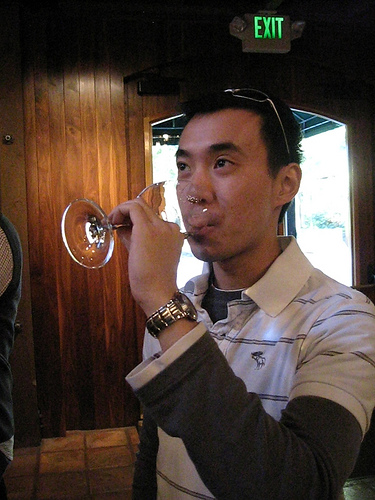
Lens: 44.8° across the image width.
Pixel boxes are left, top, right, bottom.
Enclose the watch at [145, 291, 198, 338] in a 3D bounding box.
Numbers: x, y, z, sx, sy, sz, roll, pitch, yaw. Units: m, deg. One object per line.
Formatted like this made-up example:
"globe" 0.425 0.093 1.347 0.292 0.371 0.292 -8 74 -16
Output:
"watch" -0.031 0.113 0.809 0.066 0.084 0.085 62 17 12
